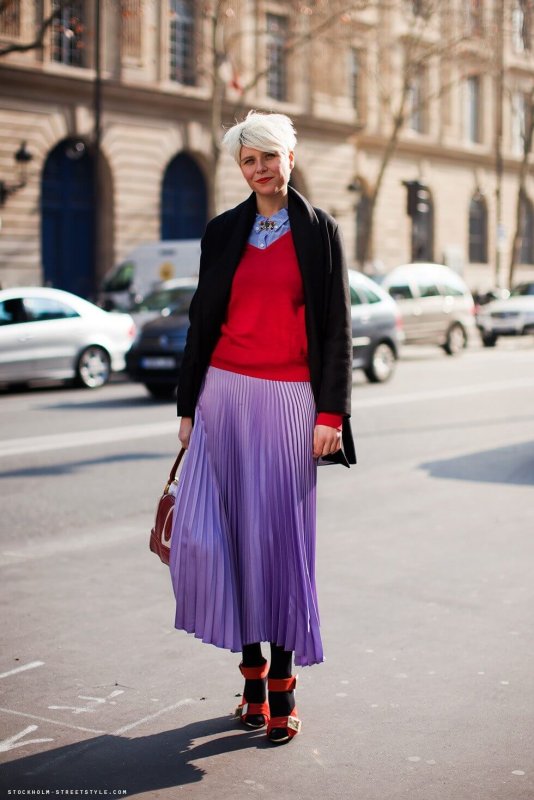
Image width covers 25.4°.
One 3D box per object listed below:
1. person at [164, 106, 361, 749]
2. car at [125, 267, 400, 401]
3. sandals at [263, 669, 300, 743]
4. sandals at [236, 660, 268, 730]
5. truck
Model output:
[{"bbox_3d":[-0.014,0.059,3.221,0.497,1.696,0.320,0,5,4],"label":"person"},{"bbox_3d":[0.066,-0.709,13.865,2.916,1.418,1.422,-1,2,-38],"label":"car"},{"bbox_3d":[0.041,0.834,3.249,0.087,0.166,0.272,-3,2,4],"label":"sandals"},{"bbox_3d":[-0.038,0.838,3.326,0.077,0.179,0.240,2,-5,-2],"label":"sandals"},{"bbox_3d":[-2.061,-2.010,18.604,1.986,1.134,1.068,-9,24,-34],"label":"truck"}]
